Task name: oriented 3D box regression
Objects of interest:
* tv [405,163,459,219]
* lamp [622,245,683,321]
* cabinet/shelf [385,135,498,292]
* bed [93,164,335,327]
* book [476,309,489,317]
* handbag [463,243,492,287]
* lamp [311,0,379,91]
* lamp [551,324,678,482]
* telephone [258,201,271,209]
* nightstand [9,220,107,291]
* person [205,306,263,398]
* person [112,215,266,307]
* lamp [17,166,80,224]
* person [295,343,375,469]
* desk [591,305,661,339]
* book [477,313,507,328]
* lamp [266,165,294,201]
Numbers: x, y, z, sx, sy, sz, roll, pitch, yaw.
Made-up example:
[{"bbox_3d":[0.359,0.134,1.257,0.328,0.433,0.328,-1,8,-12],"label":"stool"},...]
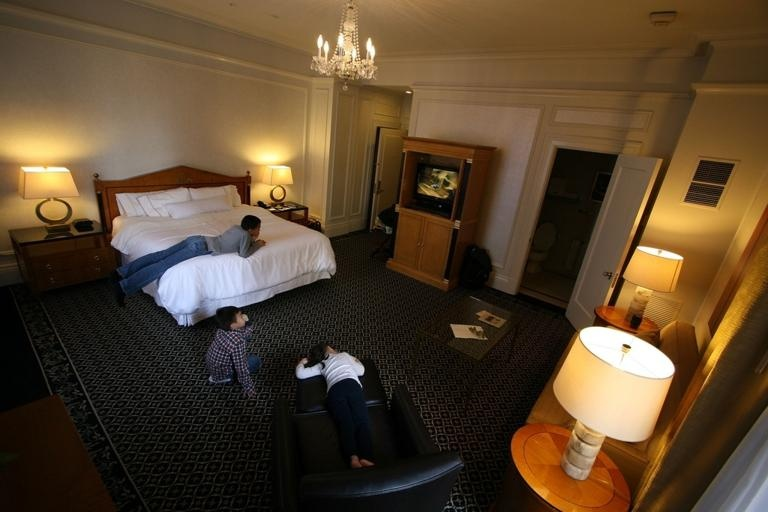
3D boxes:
[{"bbox_3d":[0.765,-1.030,7.497,0.769,0.663,0.278,21,19,28],"label":"tv"},{"bbox_3d":[3.066,0.368,5.550,0.514,0.864,0.491,16,26,25],"label":"lamp"},{"bbox_3d":[0.970,-0.608,7.452,1.696,2.701,0.879,27,27,38],"label":"cabinet/shelf"},{"bbox_3d":[-2.489,-0.314,6.534,2.414,1.224,2.643,-20,41,-35],"label":"bed"},{"bbox_3d":[1.222,0.726,5.903,0.081,0.023,0.082,-16,29,-34],"label":"book"},{"bbox_3d":[1.461,0.151,7.491,0.372,0.572,0.476,-15,29,-30],"label":"handbag"},{"bbox_3d":[-0.510,-2.808,6.179,0.875,1.251,0.864,-27,48,-36],"label":"lamp"},{"bbox_3d":[1.859,1.403,4.133,0.816,1.252,0.812,23,17,22],"label":"lamp"},{"bbox_3d":[-2.097,-0.908,8.299,0.189,0.176,0.131,-19,42,-28],"label":"telephone"},{"bbox_3d":[-4.270,0.018,6.425,0.969,0.772,0.742,-15,26,-38],"label":"nightstand"},{"bbox_3d":[-1.631,1.006,5.115,0.570,0.934,0.648,-6,25,-22],"label":"person"},{"bbox_3d":[-2.308,-0.034,6.053,1.596,0.473,0.484,-18,1,-16],"label":"person"},{"bbox_3d":[-4.332,-0.752,6.159,0.644,0.779,0.668,10,17,35],"label":"lamp"},{"bbox_3d":[-0.414,1.404,4.535,0.687,0.313,1.467,-8,35,-18],"label":"person"},{"bbox_3d":[2.934,0.971,5.789,0.477,0.529,0.471,-12,33,-17],"label":"desk"},{"bbox_3d":[1.309,0.786,5.798,0.239,0.057,0.177,24,31,36],"label":"book"},{"bbox_3d":[-1.858,-1.236,8.312,0.545,0.648,0.538,2,9,5],"label":"lamp"}]
